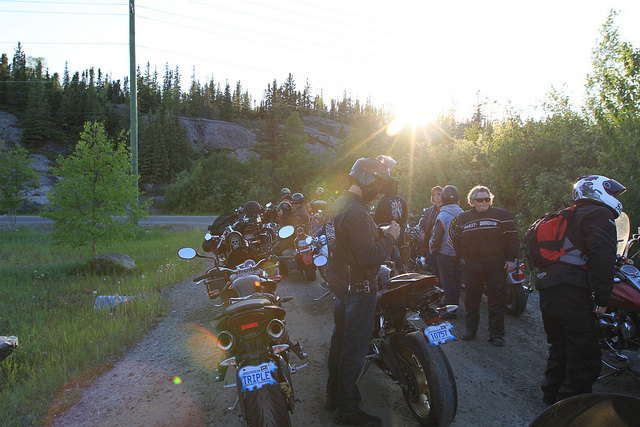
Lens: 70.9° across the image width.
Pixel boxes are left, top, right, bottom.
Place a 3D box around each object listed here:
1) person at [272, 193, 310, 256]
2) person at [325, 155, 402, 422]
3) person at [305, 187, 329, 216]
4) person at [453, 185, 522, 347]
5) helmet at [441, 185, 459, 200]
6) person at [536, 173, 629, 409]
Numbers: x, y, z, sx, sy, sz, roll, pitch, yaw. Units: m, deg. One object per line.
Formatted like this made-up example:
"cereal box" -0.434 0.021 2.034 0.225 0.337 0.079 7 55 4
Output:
"person" -0.800 0.346 12.659 0.512 1.766 1.053 12 -30 2
"person" 0.611 1.227 7.388 1.098 4.258 0.701 -1 5 -1
"person" -0.077 -0.428 16.449 0.564 0.690 1.120 2 -10 -11
"person" 3.516 1.071 9.511 1.312 3.251 0.830 1 5 17
"helmet" 3.128 -0.481 10.725 0.268 0.340 0.368 5 37 7
"person" 4.444 1.331 7.625 1.122 3.913 1.487 2 6 36
